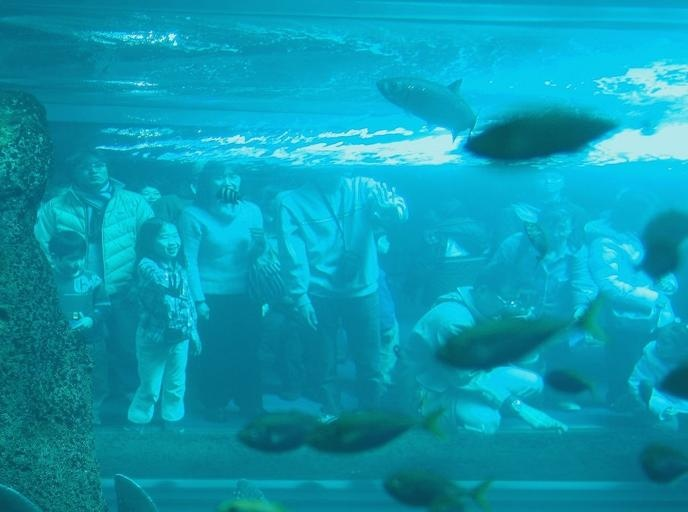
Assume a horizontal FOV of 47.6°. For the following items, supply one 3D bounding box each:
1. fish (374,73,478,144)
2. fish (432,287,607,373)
[{"bbox_3d":[0.702,-1.240,6.451,0.907,0.422,0.282,18,25,34],"label":"fish"},{"bbox_3d":[1.586,0.691,7.292,1.968,0.608,0.321,-16,17,32],"label":"fish"}]
